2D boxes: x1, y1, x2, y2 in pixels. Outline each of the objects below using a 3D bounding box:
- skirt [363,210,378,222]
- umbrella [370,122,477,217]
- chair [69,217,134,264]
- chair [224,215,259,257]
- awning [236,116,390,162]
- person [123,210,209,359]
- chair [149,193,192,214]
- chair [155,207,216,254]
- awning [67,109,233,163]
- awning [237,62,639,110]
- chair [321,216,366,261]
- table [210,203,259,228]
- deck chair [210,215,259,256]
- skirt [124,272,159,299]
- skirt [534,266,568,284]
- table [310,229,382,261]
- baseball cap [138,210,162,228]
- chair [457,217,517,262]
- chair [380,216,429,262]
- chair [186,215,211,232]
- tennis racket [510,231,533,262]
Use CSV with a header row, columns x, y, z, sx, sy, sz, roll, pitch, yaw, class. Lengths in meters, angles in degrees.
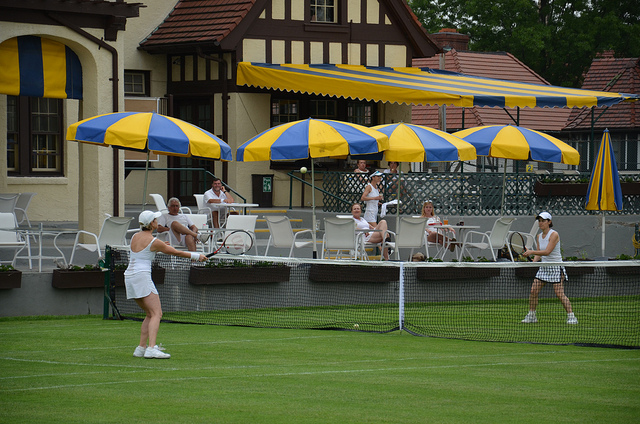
x,y,z,sx,sy,sz,roll,pitch,yaw,class
1.327,0.111,31.912,0.330,0.302,0.273,0,15,-5,skirt
2.564,-1.105,30.800,2.467,1.514,2.309,1,2,-3,umbrella
-5.203,0.623,28.368,1.545,1.308,1.160,1,-1,30,chair
-1.959,0.570,29.827,0.944,1.286,0.992,1,0,11,chair
-0.350,-1.830,31.102,4.552,1.334,1.515,-9,-11,42,awning
-3.247,1.390,23.360,0.993,2.590,1.193,0,15,-5,person
-3.982,-0.232,31.408,1.128,0.680,0.613,0,2,20,chair
-3.282,0.775,29.477,0.919,1.153,1.926,2,-29,-17,chair
-4.057,-1.711,28.908,3.662,1.084,0.874,0,15,-5,awning
2.931,-3.825,37.287,10.913,1.270,2.477,0,14,-4,awning
0.672,0.669,29.452,1.006,1.375,1.044,2,6,19,chair
-2.261,0.035,31.762,0.826,0.508,0.813,0,1,4,table
-1.916,0.573,30.029,0.986,1.286,1.008,1,-4,22,deck chair
-3.471,1.366,23.607,0.519,0.600,0.841,-2,-11,-33,skirt
5.036,1.350,26.625,0.625,0.393,0.355,-1,-13,11,skirt
0.864,0.693,29.930,1.042,0.515,0.951,0,2,-9,table
-3.332,0.126,23.615,0.297,0.274,0.459,9,16,28,baseball cap
4.293,0.662,31.164,1.506,1.284,1.020,2,1,43,chair
2.022,0.665,29.862,1.094,1.333,1.113,1,2,-20,chair
-3.039,0.236,30.292,0.548,0.522,0.394,0,6,-7,chair
5.299,0.871,31.797,0.151,0.394,1.076,-2,-37,34,tennis racket
